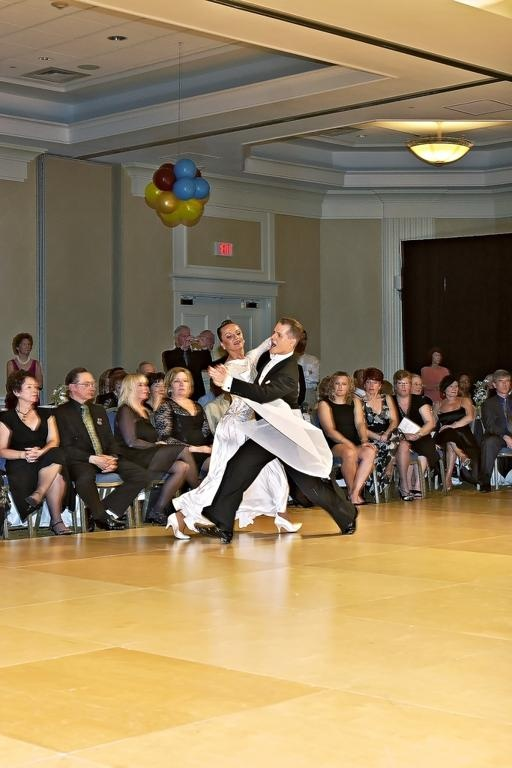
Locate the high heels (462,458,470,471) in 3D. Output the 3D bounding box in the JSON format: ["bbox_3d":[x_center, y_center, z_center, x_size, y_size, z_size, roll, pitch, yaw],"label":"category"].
[{"bbox_3d":[2.768,1.073,8.205,0.064,0.080,0.190,1,7,16],"label":"high heels"}]

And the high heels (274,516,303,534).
[{"bbox_3d":[0.274,1.236,5.537,0.251,0.128,0.128,-3,0,-5],"label":"high heels"}]

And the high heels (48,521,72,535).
[{"bbox_3d":[-1.736,1.269,5.528,0.099,0.109,0.285,3,-10,-32],"label":"high heels"}]

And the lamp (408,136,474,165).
[{"bbox_3d":[2.931,-3.701,9.998,0.968,0.308,0.463,0,-3,9],"label":"lamp"}]

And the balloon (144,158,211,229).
[{"bbox_3d":[-1.017,-2.425,7.860,0.740,0.814,0.433,-1,-3,26],"label":"balloon"}]

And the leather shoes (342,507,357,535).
[{"bbox_3d":[0.796,1.142,5.229,0.103,0.273,0.104,9,12,29],"label":"leather shoes"}]

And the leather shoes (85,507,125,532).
[{"bbox_3d":[-1.461,1.257,5.790,0.512,0.200,0.166,0,2,-5],"label":"leather shoes"}]

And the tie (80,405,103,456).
[{"bbox_3d":[-1.589,0.454,5.993,0.128,0.610,0.071,-17,-9,-23],"label":"tie"}]
